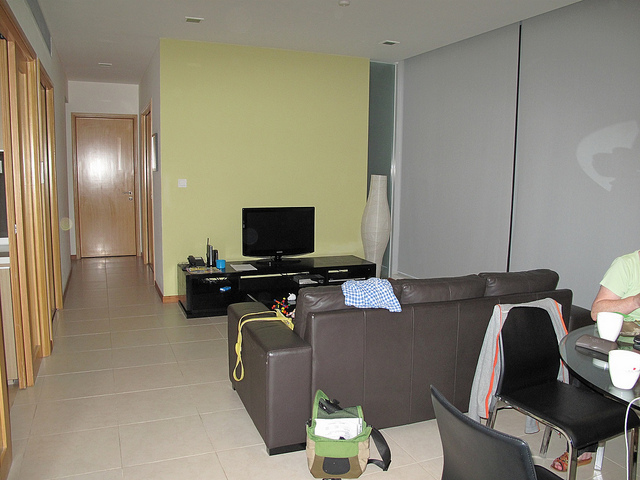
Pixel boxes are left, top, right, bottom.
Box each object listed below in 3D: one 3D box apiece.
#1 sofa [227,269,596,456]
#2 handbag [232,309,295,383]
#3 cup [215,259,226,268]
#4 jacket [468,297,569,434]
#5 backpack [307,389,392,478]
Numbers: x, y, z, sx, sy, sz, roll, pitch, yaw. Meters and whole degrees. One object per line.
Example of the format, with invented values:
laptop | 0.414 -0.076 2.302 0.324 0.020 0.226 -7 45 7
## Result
sofa | 0.781 0.764 4.046 2.623 1.185 1.120 -3 10 -16
handbag | -0.408 0.809 3.755 0.481 0.488 0.320 -5 0 -6
cup | -1.217 0.283 6.021 0.087 0.068 0.086 1 11 0
jacket | 1.269 0.863 3.222 0.694 1.023 0.321 -6 13 -30
backpack | 0.149 1.046 2.633 0.446 0.399 0.324 3 12 12
